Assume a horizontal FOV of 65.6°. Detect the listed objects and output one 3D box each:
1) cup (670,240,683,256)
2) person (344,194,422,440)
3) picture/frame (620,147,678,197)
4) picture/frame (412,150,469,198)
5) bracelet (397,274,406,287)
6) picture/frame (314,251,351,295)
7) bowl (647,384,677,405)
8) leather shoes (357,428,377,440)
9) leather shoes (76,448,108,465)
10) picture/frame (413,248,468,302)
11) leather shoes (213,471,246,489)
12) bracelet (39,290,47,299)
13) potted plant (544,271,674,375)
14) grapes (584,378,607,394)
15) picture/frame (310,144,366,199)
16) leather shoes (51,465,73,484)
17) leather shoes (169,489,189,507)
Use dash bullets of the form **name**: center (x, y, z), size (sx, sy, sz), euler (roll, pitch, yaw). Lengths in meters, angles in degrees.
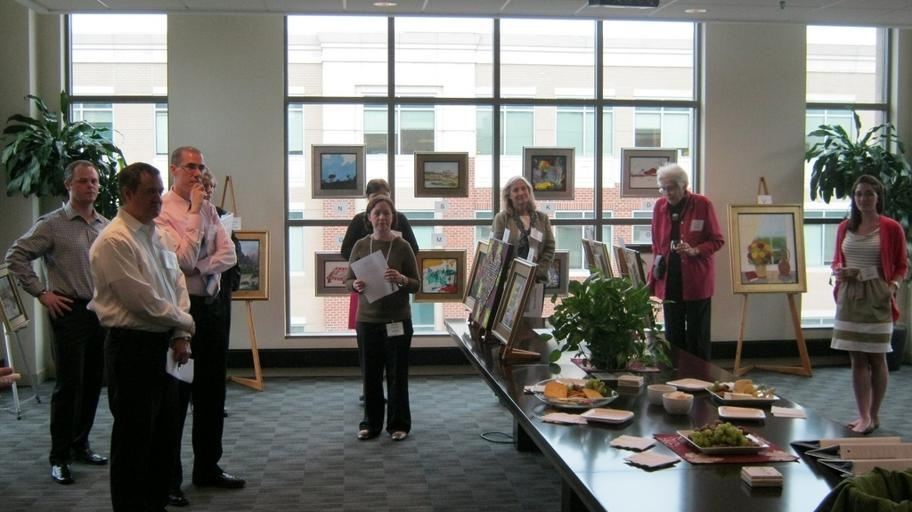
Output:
- **cup**: center (2.705, -0.110, 8.731), size (0.170, 0.142, 0.159), euler (-2, 5, 0)
- **person**: center (-0.788, 0.701, 7.836), size (0.777, 2.701, 0.607), euler (-1, 14, -5)
- **picture/frame**: center (2.715, -1.188, 9.991), size (0.966, 0.738, 0.087), euler (0, -2, -4)
- **picture/frame**: center (-0.201, -1.154, 10.136), size (0.835, 0.606, 0.048), euler (2, 5, 24)
- **bracelet**: center (-0.577, 0.261, 7.662), size (0.080, 0.155, 0.160), euler (5, 15, 19)
- **picture/frame**: center (-1.659, 0.239, 9.624), size (0.717, 0.650, 0.052), euler (0, 0, -9)
- **bowl**: center (1.733, 1.155, 5.993), size (0.191, 0.101, 0.179), euler (0, 2, 0)
- **leather shoes**: center (-0.985, 2.002, 7.929), size (0.206, 0.078, 0.091), euler (10, -10, -30)
- **leather shoes**: center (-3.820, 2.120, 7.496), size (0.376, 0.128, 0.138), euler (3, -1, 2)
- **picture/frame**: center (-0.224, 0.269, 9.810), size (0.846, 0.734, 0.080), euler (2, -3, -10)
- **leather shoes**: center (-2.233, 2.249, 7.107), size (0.382, 0.139, 0.121), euler (3, -3, -4)
- **bracelet**: center (-4.164, 0.385, 7.180), size (0.081, 0.021, 0.079), euler (-20, 22, 38)
- **potted plant**: center (1.377, 0.597, 6.424), size (1.049, 0.625, 0.979), euler (1, 12, -6)
- **grapes**: center (1.186, 1.091, 6.007), size (0.155, 0.084, 0.126), euler (6, 10, 34)
- **picture/frame**: center (-1.535, -1.201, 10.220), size (0.913, 0.766, 0.501), euler (4, 7, 25)
- **leather shoes**: center (-3.953, 2.200, 7.139), size (0.113, 0.115, 0.321), euler (4, -3, -39)
- **leather shoes**: center (-2.629, 2.307, 6.747), size (0.102, 0.104, 0.252), euler (6, -9, -37)
